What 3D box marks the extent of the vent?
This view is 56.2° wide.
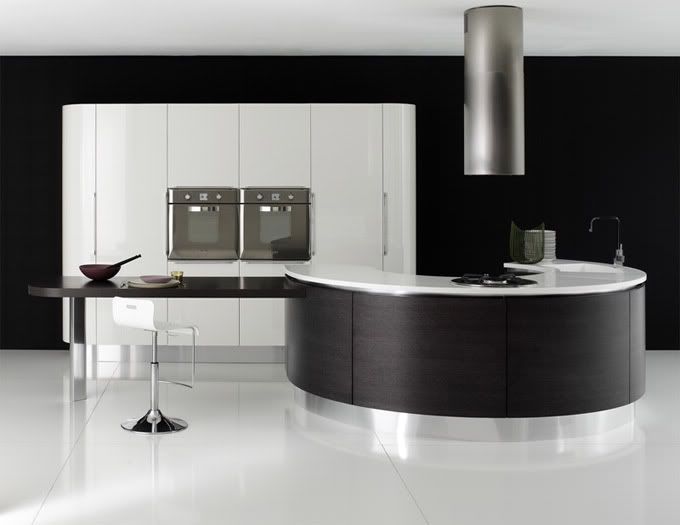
[{"bbox_3d":[1.422,-1.554,5.844,0.559,1.456,0.286,1,8,11],"label":"vent"}]

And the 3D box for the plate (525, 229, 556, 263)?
[{"bbox_3d":[1.872,-0.167,5.948,0.353,0.333,0.295,0,2,8],"label":"plate"}]

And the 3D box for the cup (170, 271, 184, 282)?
[{"bbox_3d":[-1.367,0.108,5.329,0.104,0.070,0.087,-1,3,-33],"label":"cup"}]

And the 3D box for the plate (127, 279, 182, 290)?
[{"bbox_3d":[-1.545,0.157,5.138,0.474,0.061,0.296,1,8,11],"label":"plate"}]

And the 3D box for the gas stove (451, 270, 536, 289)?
[{"bbox_3d":[1.168,0.131,4.817,0.612,0.039,0.378,1,8,10],"label":"gas stove"}]

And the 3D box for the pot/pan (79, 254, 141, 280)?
[{"bbox_3d":[-1.955,0.045,5.384,0.533,0.200,0.301,4,9,24],"label":"pot/pan"}]
